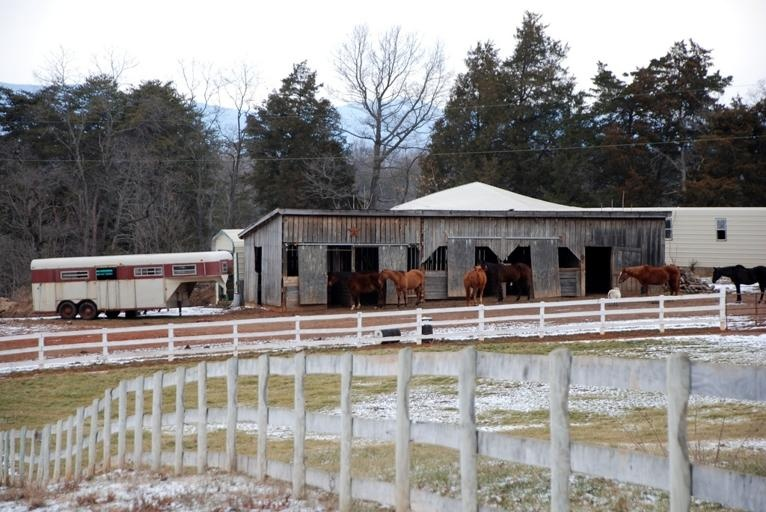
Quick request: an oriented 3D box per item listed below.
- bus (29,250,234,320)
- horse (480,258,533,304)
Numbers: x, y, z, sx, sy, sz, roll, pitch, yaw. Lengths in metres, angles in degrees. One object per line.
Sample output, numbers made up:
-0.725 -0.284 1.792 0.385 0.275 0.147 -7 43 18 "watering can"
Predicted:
-13.075 1.603 60.172 10.477 3.642 3.004 -2 0 4 "bus"
6.811 0.877 60.355 2.113 2.457 3.561 0 -26 0 "horse"
